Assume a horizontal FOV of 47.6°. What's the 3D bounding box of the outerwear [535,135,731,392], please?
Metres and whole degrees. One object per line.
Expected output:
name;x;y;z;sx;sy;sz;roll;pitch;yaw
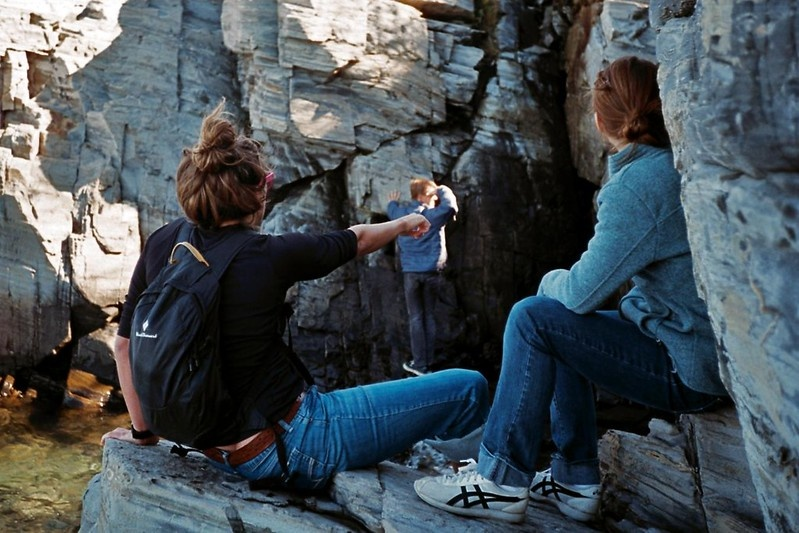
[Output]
outerwear;1.740;0.007;6.525;1.647;1.686;1.182;10;17;42

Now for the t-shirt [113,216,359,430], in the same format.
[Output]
t-shirt;-1.230;0.400;6.536;1.465;1.575;1.463;5;-1;26

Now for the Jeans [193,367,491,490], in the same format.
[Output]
Jeans;-0.449;1.091;6.447;2.246;1.012;0.705;2;3;-12

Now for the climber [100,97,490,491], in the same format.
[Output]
climber;-0.757;0.263;6.742;2.607;2.708;2.123;-2;11;2

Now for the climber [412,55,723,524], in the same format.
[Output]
climber;1.449;0.233;6.564;2.142;3.319;1.129;9;4;41

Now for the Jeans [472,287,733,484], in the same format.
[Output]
Jeans;1.487;0.925;6.851;1.620;1.959;1.037;4;-2;12

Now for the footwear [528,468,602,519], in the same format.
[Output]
footwear;1.140;1.552;6.355;0.609;0.295;0.240;12;5;40

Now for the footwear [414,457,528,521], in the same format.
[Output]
footwear;0.488;1.499;6.178;0.781;0.361;0.289;7;14;14
